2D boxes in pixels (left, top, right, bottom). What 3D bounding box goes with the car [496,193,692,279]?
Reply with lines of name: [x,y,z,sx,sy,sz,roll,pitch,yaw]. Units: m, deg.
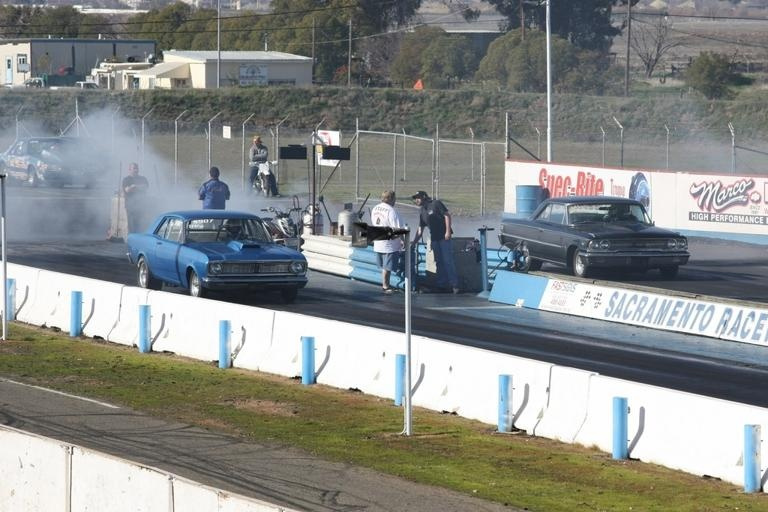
car: [10.971,-0.936,109.957,8.999,3.953,2.161,3,11,9]

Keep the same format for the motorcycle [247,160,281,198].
motorcycle: [-6.959,-4.617,124.894,0.955,2.077,1.637,-10,15,-43]

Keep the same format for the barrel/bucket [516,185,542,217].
barrel/bucket: [8.268,-3.151,119.933,1.582,2.446,1.592,1,2,0]

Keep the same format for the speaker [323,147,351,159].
speaker: [-2.551,-5.504,112.848,1.434,0.862,0.934,0,11,-5]
